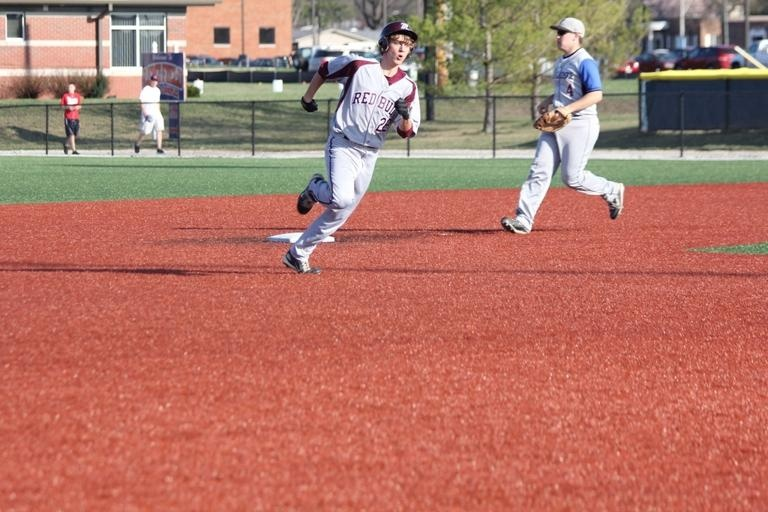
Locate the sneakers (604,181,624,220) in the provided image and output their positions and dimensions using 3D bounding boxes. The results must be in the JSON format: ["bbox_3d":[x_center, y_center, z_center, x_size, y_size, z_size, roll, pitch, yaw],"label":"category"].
[{"bbox_3d":[2.810,-0.609,12.715,0.260,0.592,0.212,-8,20,-7],"label":"sneakers"}]

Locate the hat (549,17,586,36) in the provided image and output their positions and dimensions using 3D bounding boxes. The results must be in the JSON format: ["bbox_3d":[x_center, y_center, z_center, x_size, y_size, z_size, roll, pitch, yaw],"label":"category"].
[{"bbox_3d":[2.083,-2.573,11.754,0.308,0.199,0.273,4,13,17],"label":"hat"}]

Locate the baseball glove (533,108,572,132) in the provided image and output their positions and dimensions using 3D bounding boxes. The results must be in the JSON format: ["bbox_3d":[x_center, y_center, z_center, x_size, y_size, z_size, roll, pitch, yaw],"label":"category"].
[{"bbox_3d":[1.932,-1.530,11.824,0.303,0.284,0.582,-6,14,-28],"label":"baseball glove"}]

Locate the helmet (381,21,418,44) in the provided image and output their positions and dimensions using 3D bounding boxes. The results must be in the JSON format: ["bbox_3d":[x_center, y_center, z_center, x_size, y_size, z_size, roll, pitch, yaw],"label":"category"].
[{"bbox_3d":[0.123,-2.018,9.351,0.305,0.176,0.582,0,12,0],"label":"helmet"}]

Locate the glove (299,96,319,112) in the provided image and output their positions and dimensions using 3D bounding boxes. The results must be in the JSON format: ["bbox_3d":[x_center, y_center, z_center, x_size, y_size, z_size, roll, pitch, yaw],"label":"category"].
[{"bbox_3d":[-0.702,-1.409,9.752,0.142,0.098,0.198,6,0,9],"label":"glove"}]

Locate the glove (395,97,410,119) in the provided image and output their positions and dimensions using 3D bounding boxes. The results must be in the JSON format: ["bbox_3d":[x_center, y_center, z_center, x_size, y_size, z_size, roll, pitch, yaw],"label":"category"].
[{"bbox_3d":[0.160,-1.305,9.230,0.127,0.176,0.184,0,12,-1],"label":"glove"}]

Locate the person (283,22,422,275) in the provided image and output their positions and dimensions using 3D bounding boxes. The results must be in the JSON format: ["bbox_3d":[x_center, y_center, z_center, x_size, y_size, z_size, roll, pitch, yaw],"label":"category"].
[{"bbox_3d":[-0.287,-0.937,9.578,1.203,2.375,0.561,3,11,12],"label":"person"}]
